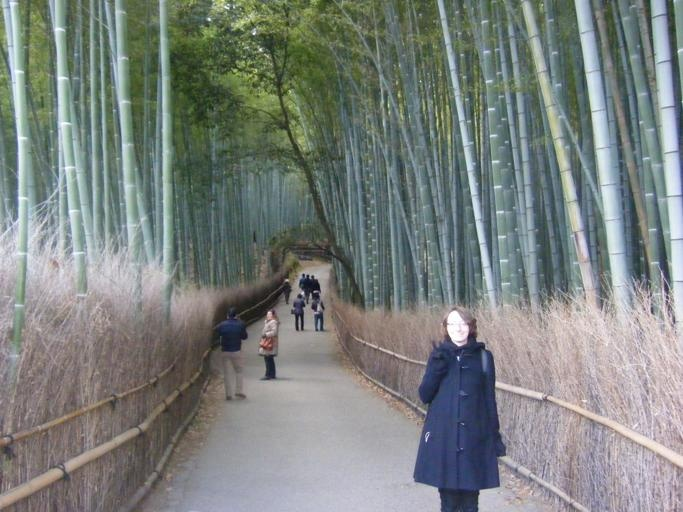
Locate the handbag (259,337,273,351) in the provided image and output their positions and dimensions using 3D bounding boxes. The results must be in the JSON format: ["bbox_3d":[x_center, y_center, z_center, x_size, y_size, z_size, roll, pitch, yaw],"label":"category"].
[{"bbox_3d":[-1.061,1.249,9.373,0.180,0.185,0.218,-1,-1,-5],"label":"handbag"}]

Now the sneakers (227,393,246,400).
[{"bbox_3d":[-1.282,1.723,8.007,0.155,0.083,0.057,-8,3,3],"label":"sneakers"}]
